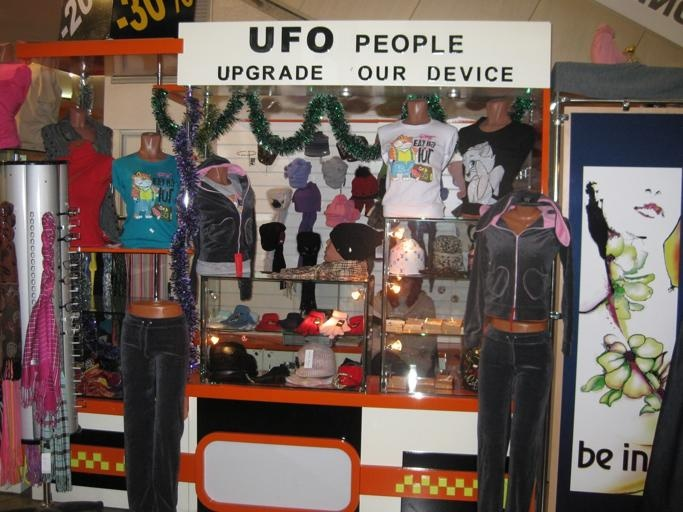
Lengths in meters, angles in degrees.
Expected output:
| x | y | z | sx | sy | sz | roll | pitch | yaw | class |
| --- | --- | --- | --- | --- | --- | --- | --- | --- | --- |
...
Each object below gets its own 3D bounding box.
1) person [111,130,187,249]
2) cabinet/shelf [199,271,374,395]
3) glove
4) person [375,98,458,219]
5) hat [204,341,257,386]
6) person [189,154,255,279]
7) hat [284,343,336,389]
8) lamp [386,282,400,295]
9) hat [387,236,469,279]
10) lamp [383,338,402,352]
| x | y | z | sx | sy | sz | roll | pitch | yaw | class |
| --- | --- | --- | --- | --- | --- | --- | --- | --- | --- |
| -1.353 | -0.448 | 4.897 | 0.464 | 0.804 | 0.207 | 2 | 3 | -10 | person |
| -0.383 | 0.549 | 4.844 | 1.040 | 0.783 | 0.583 | 0 | -3 | 7 | cabinet/shelf |
| -0.333 | 0.423 | 4.597 | 0.971 | 0.184 | 0.063 | 3 | 3 | 3 | glove |
| 0.537 | -0.693 | 4.959 | 0.751 | 1.137 | 0.421 | 1 | -1 | 8 | person |
| -0.705 | 0.641 | 4.769 | 0.353 | 0.288 | 0.272 | -2 | 17 | 3 | hat |
| -0.808 | -0.277 | 4.959 | 0.496 | 0.817 | 0.234 | 0 | 4 | -33 | person |
| -0.155 | 0.718 | 4.773 | 0.459 | 0.266 | 0.504 | 2 | 0 | 3 | hat |
| 0.342 | 0.211 | 4.658 | 0.078 | 0.091 | 0.052 | 8 | -2 | -1 | lamp |
| 0.564 | 0.011 | 4.767 | 0.450 | 0.242 | 0.258 | 1 | -1 | 4 | hat |
| 0.342 | 0.585 | 4.643 | 0.090 | 0.078 | 0.037 | 2 | 4 | -6 | lamp |
